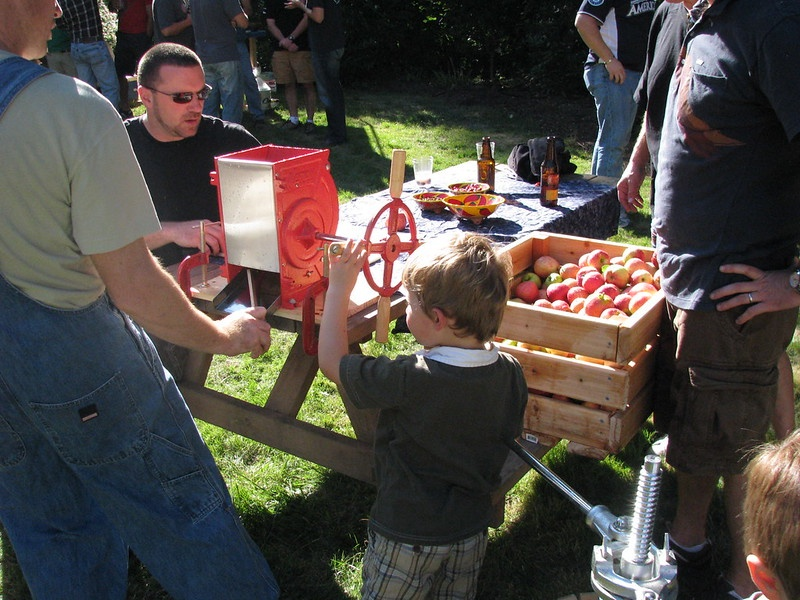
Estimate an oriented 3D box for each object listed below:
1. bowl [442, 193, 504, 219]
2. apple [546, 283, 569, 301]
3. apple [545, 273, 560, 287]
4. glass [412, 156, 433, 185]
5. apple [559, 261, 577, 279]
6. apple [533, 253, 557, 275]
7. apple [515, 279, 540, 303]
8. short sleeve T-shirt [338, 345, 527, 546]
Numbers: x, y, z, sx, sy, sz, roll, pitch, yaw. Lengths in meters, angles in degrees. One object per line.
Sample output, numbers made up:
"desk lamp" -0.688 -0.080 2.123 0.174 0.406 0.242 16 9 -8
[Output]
"bowl" 0.412 -0.531 3.756 0.193 0.084 0.202 -4 22 1
"apple" 0.729 -0.034 3.085 0.073 0.083 0.081 -1 -4 15
"apple" 0.729 -0.095 3.181 0.049 0.059 0.054 17 15 -43
"glass" 0.164 -0.884 4.593 0.147 0.199 0.167 -2 13 2
"apple" 0.809 -0.133 3.248 0.070 0.096 0.073 25 5 33
"apple" 0.711 -0.174 3.289 0.088 0.105 0.091 -13 10 -38
"apple" 0.603 -0.034 3.157 0.088 0.108 0.099 -11 20 4
"short sleeve T-shirt" 0.143 0.470 2.475 0.641 0.731 0.555 1 16 -16
